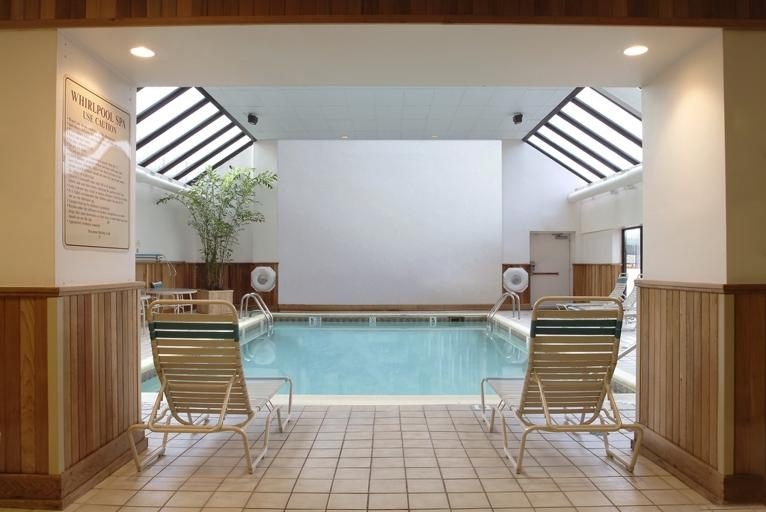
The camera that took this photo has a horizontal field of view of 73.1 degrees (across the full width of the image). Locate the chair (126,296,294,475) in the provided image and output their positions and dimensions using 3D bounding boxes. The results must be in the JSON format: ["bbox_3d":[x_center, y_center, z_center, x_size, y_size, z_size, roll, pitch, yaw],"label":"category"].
[{"bbox_3d":[-1.432,1.159,4.791,1.003,1.262,1.873,-1,-7,4],"label":"chair"}]

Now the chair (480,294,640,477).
[{"bbox_3d":[1.527,1.163,4.812,1.031,1.316,1.940,2,-8,0],"label":"chair"}]

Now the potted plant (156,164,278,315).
[{"bbox_3d":[-3.492,-0.319,11.290,2.309,2.179,1.799,13,12,30],"label":"potted plant"}]

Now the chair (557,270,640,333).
[{"bbox_3d":[3.286,0.615,7.700,1.483,0.970,1.038,1,-5,-4],"label":"chair"}]
